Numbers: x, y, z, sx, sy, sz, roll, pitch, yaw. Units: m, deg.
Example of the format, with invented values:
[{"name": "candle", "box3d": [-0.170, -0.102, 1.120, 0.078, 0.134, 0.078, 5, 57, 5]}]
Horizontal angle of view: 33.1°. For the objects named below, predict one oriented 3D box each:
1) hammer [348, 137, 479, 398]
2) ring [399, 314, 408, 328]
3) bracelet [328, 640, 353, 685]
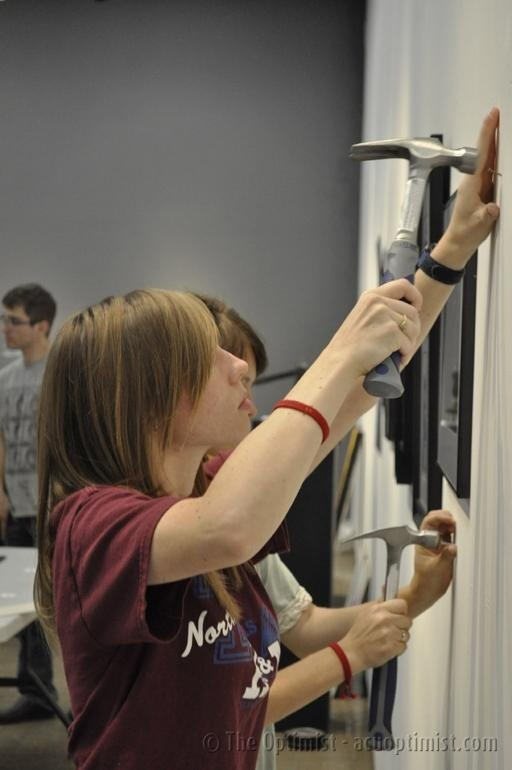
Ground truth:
[{"name": "hammer", "box3d": [0.168, -0.133, 0.958, 0.129, 0.306, 0.242, 3, -4, 6]}, {"name": "ring", "box3d": [0.150, -0.063, 0.858, 0.005, 0.014, 0.011, 0, -5, 42]}, {"name": "bracelet", "box3d": [0.112, 0.353, 1.100, 0.011, 0.041, 0.044, -28, 47, -14]}]
